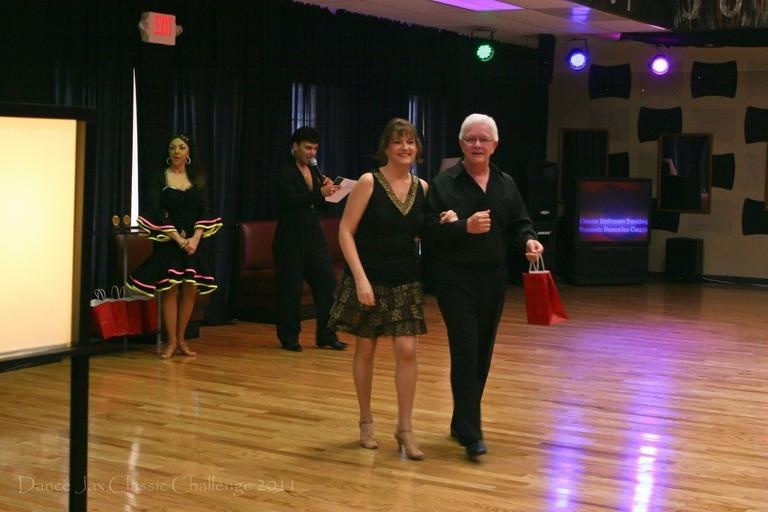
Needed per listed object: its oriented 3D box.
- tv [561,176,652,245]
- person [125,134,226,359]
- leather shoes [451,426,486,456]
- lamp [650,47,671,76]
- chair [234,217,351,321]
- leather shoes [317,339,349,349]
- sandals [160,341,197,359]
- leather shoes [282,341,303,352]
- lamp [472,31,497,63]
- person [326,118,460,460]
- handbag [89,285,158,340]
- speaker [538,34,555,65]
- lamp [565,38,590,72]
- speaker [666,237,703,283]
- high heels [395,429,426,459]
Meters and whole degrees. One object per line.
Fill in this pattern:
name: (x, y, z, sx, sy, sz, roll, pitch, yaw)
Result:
tv: (3.441, -0.693, 10.015, 1.048, 0.866, 0.340, 0, -1, -2)
person: (-1.863, -0.085, 5.828, 0.785, 1.947, 0.364, -4, 10, -21)
leather shoes: (0.485, 1.074, 3.758, 0.083, 0.096, 0.233, -9, 13, -32)
lamp: (4.478, -3.147, 10.527, 0.311, 0.395, 0.457, 3, 10, 23)
chair: (-1.148, 0.149, 7.780, 1.010, 1.260, 1.892, 2, 4, 35)
leather shoes: (-0.485, 0.811, 6.205, 0.316, 0.138, 0.107, -2, 1, 16)
sandals: (-1.885, 0.846, 5.879, 0.235, 0.086, 0.148, -1, -1, -27)
leather shoes: (-0.878, 0.835, 6.120, 0.237, 0.077, 0.166, 0, 9, 6)
lamp: (1.488, -3.138, 9.715, 0.288, 0.433, 0.426, 1, 9, 7)
person: (0.016, 0.188, 3.697, 0.643, 1.911, 0.436, 0, 9, 5)
handbag: (-2.338, 0.512, 5.857, 0.618, 0.529, 0.251, -7, 9, -30)
speaker: (2.524, -3.192, 10.067, 0.323, 0.433, 0.148, -3, 9, -17)
lamp: (3.142, -3.231, 10.516, 0.401, 0.534, 0.187, -6, 42, 24)
speaker: (4.780, 0.064, 10.355, 0.567, 0.794, 0.704, 2, 3, 9)
high heels: (0.139, 1.071, 3.697, 0.083, 0.125, 0.250, 1, -3, -32)
